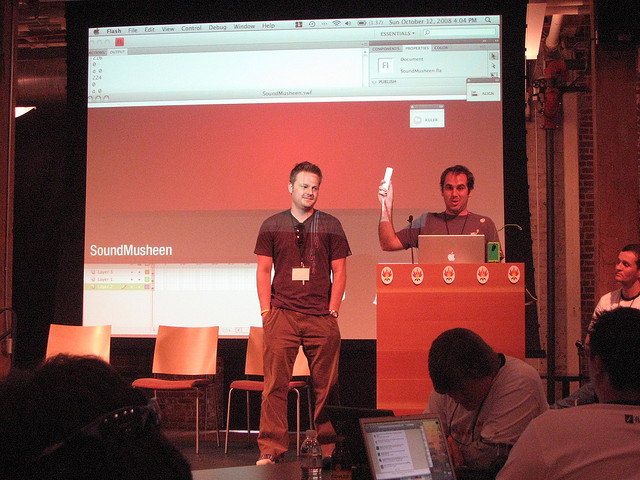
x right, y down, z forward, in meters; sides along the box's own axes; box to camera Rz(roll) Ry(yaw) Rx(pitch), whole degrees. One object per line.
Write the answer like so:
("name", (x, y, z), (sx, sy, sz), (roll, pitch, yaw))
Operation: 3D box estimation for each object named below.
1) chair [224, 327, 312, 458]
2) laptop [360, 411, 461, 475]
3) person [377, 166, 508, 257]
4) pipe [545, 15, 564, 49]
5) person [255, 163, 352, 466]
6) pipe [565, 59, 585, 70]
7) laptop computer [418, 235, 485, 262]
("chair", (-0.374, 1.137, 5.133), (0.583, 0.939, 0.593), (-3, -12, 23))
("laptop", (0.338, 0.832, 2.690), (0.375, 0.229, 0.162), (1, -8, -14))
("person", (0.954, -0.193, 4.987), (0.620, 0.822, 0.316), (-1, -25, 9))
("pipe", (2.201, -1.962, 6.210), (0.133, 0.228, 0.413), (-2, -8, 13))
("person", (-0.103, 0.438, 4.448), (0.657, 1.980, 0.320), (0, -8, -7))
("pipe", (2.433, -1.670, 6.297), (0.189, 0.102, 0.068), (1, -8, -10))
("laptop computer", (0.814, 0.058, 4.090), (0.400, 0.172, 0.049), (-1, -8, 3))
